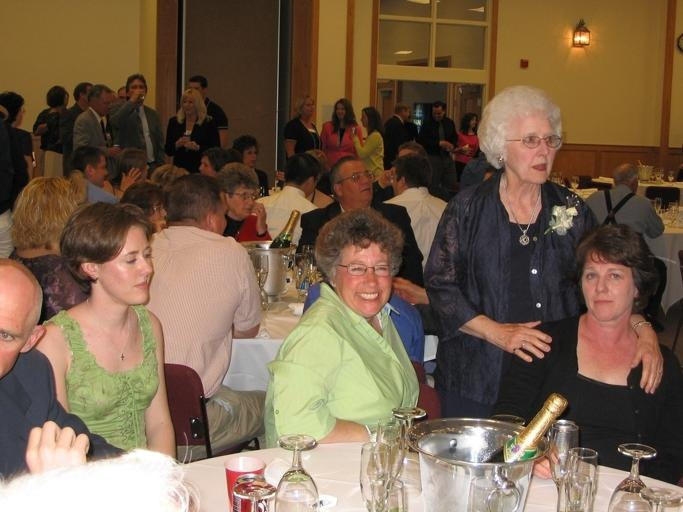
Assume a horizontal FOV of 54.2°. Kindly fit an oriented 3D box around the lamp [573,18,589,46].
[{"bbox_3d":[4.455,-4.093,12.351,0.353,0.473,0.146,-2,7,-20],"label":"lamp"}]

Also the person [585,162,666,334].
[{"bbox_3d":[2.777,-0.093,6.536,0.713,1.606,0.711,-18,21,-20],"label":"person"}]

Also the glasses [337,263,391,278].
[{"bbox_3d":[0.086,0.053,2.562,0.193,0.048,0.048,1,7,-3],"label":"glasses"}]

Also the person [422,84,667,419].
[{"bbox_3d":[0.808,0.424,2.856,0.798,2.251,0.736,0,8,14],"label":"person"}]

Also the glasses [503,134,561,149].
[{"bbox_3d":[0.819,-0.471,2.764,0.266,0.062,0.118,-3,9,-27],"label":"glasses"}]

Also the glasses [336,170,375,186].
[{"bbox_3d":[0.072,-0.553,4.818,0.144,0.050,0.144,-16,-4,39],"label":"glasses"}]

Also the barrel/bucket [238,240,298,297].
[{"bbox_3d":[-0.411,0.101,3.944,0.330,0.331,0.345,-4,-4,0],"label":"barrel/bucket"}]
